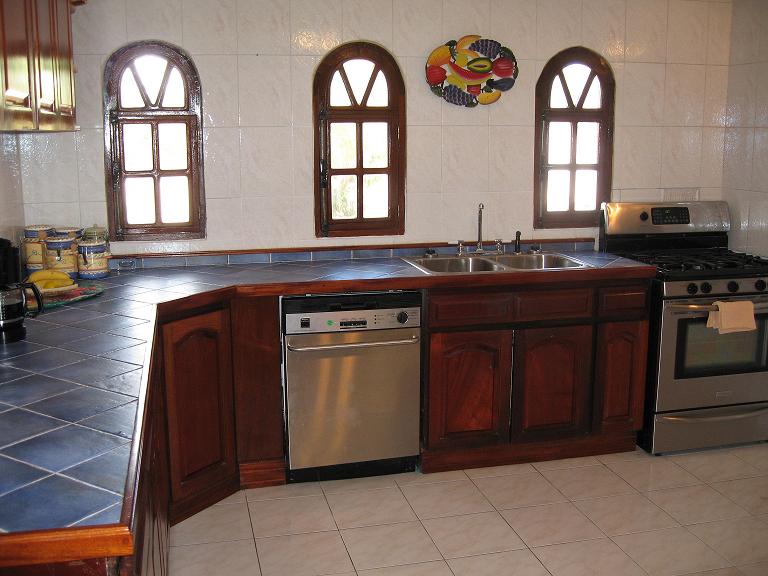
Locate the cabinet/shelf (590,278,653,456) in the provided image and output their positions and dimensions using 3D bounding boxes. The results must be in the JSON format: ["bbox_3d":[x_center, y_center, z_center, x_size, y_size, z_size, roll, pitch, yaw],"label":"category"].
[{"bbox_3d":[1.437,0.430,3.781,0.329,0.903,0.109,-2,15,-11],"label":"cabinet/shelf"}]

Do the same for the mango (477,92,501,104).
[{"bbox_3d":[0.694,-1.243,4.062,0.112,0.079,0.031,-14,-26,-14],"label":"mango"}]

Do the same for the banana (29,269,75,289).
[{"bbox_3d":[-1.687,-0.049,3.137,0.146,0.055,0.136,5,5,37],"label":"banana"}]

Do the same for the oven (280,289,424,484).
[{"bbox_3d":[-0.280,0.523,3.852,1.083,1.091,1.047,2,8,12],"label":"oven"}]

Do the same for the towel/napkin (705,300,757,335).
[{"bbox_3d":[2.079,0.161,3.747,0.208,0.144,0.085,-1,11,-10],"label":"towel/napkin"}]

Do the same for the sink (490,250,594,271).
[{"bbox_3d":[1.003,-0.177,4.092,0.609,0.099,0.356,6,15,20],"label":"sink"}]

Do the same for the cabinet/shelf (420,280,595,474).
[{"bbox_3d":[0.685,0.477,3.633,1.130,0.994,0.419,-2,7,-12],"label":"cabinet/shelf"}]

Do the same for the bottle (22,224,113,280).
[{"bbox_3d":[-1.815,-0.217,3.551,0.474,0.270,0.279,-3,12,-19],"label":"bottle"}]
